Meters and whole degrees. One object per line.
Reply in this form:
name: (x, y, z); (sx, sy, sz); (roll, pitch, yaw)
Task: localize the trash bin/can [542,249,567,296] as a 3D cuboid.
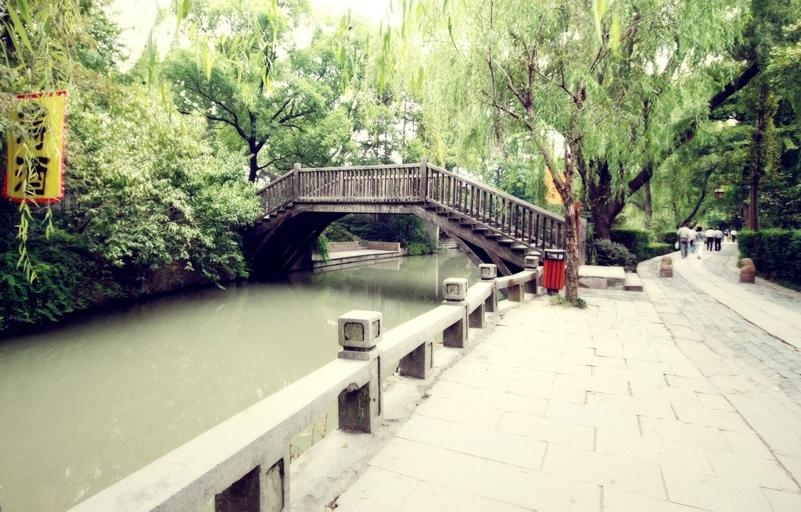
trash bin/can: (3.685, 0.389, 13.790); (0.473, 1.046, 0.371); (1, 9, 21)
